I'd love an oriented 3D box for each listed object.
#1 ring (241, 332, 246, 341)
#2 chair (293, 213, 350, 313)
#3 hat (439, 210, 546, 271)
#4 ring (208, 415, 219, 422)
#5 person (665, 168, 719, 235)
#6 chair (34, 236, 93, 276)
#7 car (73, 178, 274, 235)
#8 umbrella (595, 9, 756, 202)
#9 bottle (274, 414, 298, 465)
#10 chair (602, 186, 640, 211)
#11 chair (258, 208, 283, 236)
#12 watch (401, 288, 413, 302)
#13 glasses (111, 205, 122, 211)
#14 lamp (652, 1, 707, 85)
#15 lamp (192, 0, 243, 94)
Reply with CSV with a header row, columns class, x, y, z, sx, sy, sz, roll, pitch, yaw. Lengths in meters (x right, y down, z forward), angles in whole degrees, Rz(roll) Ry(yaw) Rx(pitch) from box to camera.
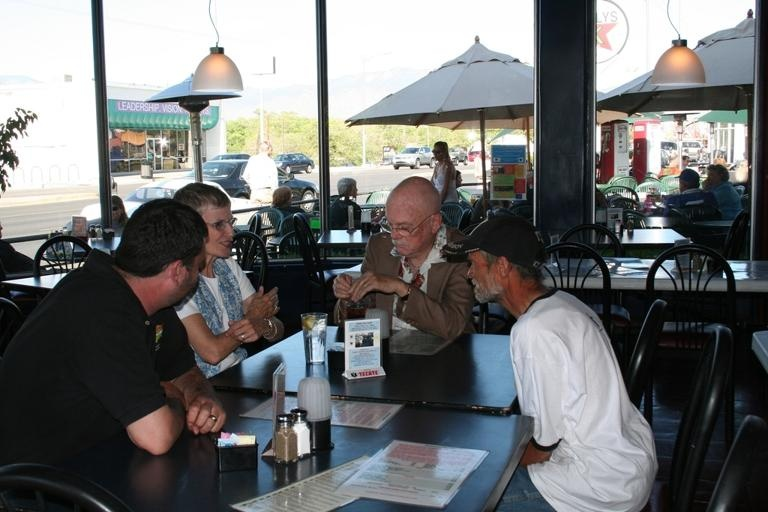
class,x,y,z,sx,sy,sz,roll,pitch,yaw
ring,-0.592,0.345,2.727,0.016,0.027,0.026,11,10,23
chair,-0.481,0.214,5.685,0.495,1.162,0.470,-7,7,-12
hat,0.472,-0.022,2.419,0.318,0.175,0.209,-1,-18,44
ring,-0.573,0.549,2.184,0.019,0.007,0.026,3,4,-2
person,2.912,-0.494,6.124,0.411,0.806,0.426,-4,36,20
chair,-2.401,0.004,4.875,0.284,0.465,0.321,1,3,-11
car,-1.846,-0.549,6.281,1.991,0.710,0.864,3,5,-17
umbrella,2.676,-1.293,5.877,1.352,0.932,1.344,-6,11,-42
bottle,-0.304,0.566,2.006,0.074,0.136,0.064,-2,14,-14
chair,2.317,-0.561,6.374,0.240,0.125,0.312,0,-6,44
chair,-1.137,-0.341,6.555,0.271,0.361,0.254,0,4,-15
watch,0.104,0.179,2.936,0.057,0.050,0.045,-18,10,32
glasses,-2.605,-0.457,6.340,0.057,0.031,0.081,-1,-1,-2
lamp,2.522,-1.695,5.430,0.407,0.746,0.406,0,4,2
lamp,-1.548,-1.958,6.115,0.450,0.905,0.980,-1,14,-10
